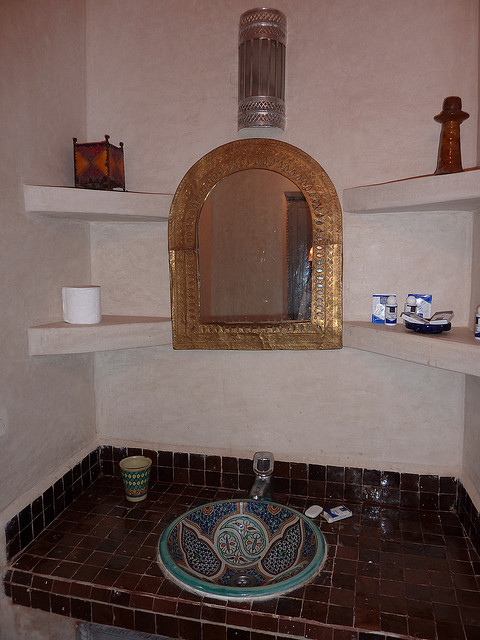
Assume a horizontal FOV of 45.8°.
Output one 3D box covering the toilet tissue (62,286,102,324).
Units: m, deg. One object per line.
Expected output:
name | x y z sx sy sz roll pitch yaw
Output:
toilet tissue | -0.444 -0.042 1.610 0.123 0.100 0.088 0 5 -7

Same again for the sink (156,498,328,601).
sink | 0.006 0.613 1.478 0.419 0.117 0.383 5 13 20

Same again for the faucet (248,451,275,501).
faucet | 0.063 0.456 1.661 0.063 0.107 0.144 1 13 5

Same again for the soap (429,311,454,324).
soap | 0.528 -0.001 1.496 0.049 0.018 0.044 7 -10 -31

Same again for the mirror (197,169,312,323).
mirror | 0.046 -0.226 1.709 0.485 0.603 0.012 1 8 16

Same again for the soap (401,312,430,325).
soap | 0.465 -0.005 1.500 0.026 0.012 0.048 -6 18 -11

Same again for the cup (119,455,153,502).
cup | -0.332 0.506 1.771 0.106 0.103 0.100 -2 -5 0
